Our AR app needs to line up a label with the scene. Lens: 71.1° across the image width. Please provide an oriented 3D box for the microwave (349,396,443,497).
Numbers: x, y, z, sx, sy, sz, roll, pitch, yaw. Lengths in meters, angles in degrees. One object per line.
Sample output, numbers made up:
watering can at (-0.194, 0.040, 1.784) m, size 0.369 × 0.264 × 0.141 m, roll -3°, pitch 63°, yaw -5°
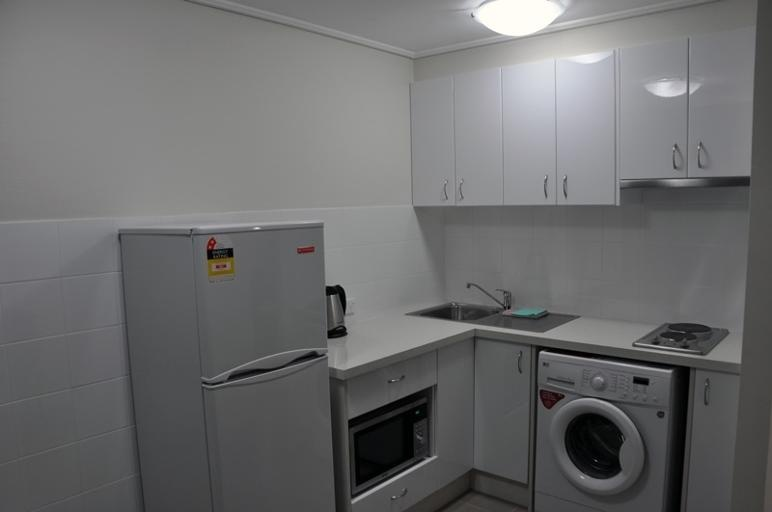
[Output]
microwave at (0.038, 1.146, 3.350) m, size 0.435 × 0.438 × 0.698 m, roll -2°, pitch 2°, yaw 36°

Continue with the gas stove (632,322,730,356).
gas stove at (1.862, 0.500, 3.389) m, size 0.442 × 0.081 × 0.633 m, roll 2°, pitch 7°, yaw 38°
